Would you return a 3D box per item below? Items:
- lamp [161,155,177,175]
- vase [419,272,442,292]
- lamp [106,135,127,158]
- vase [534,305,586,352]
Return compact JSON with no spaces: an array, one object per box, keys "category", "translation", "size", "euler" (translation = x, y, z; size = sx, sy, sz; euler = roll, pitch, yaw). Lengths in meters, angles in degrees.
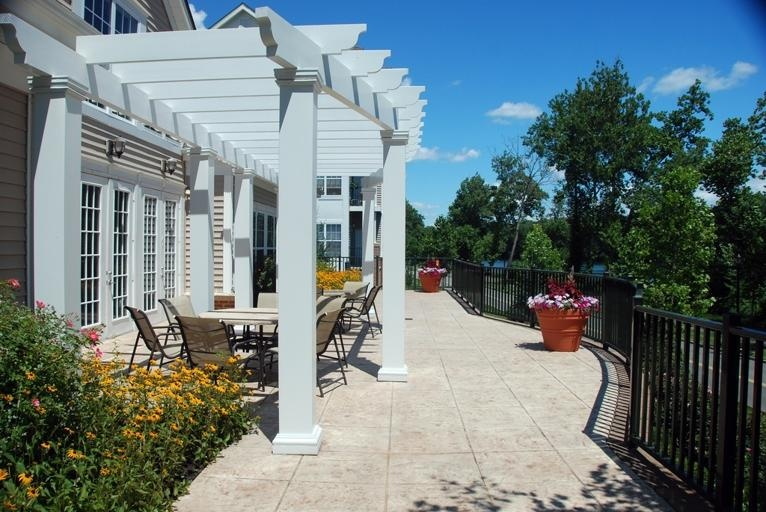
[{"category":"lamp","translation":[-4.258,-1.837,11.041],"size":[0.327,0.462,0.314],"euler":[-1,1,7]},{"category":"vase","translation":[1.708,0.931,19.847],"size":[0.708,0.657,0.675],"euler":[-1,-2,35]},{"category":"lamp","translation":[-4.477,-1.845,9.163],"size":[0.321,0.434,0.295],"euler":[1,5,-1]},{"category":"vase","translation":[2.999,1.285,9.332],"size":[0.825,0.650,0.854],"euler":[-5,-12,26]}]
